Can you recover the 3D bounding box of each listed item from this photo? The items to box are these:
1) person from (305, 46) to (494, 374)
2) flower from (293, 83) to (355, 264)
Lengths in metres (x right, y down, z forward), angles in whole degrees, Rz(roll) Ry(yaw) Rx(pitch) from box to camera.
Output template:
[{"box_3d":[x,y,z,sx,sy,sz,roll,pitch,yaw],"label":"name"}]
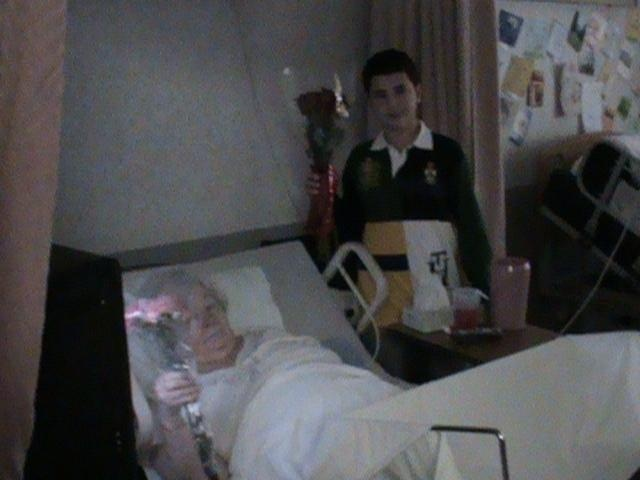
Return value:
[{"box_3d":[0.277,-0.191,2.131,0.581,0.994,0.297,7,31,22],"label":"person"},{"box_3d":[0.008,-0.219,2.049,0.213,0.565,0.194,-15,18,-27],"label":"flower"}]
